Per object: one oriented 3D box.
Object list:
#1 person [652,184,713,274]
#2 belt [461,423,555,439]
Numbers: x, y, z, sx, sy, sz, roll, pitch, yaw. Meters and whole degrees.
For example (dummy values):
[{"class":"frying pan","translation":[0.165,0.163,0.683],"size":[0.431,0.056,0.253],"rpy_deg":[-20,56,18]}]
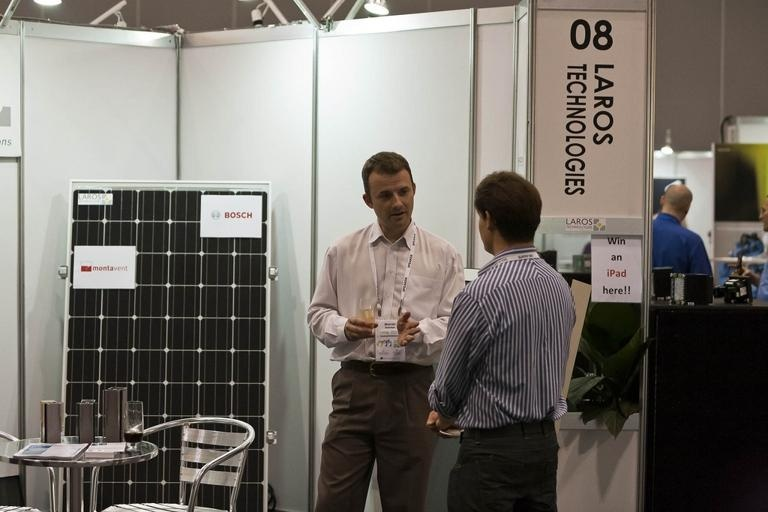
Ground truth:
[{"class":"person","translation":[2.540,-0.251,6.327],"size":[0.457,0.804,0.508],"rpy_deg":[-3,-3,25]},{"class":"belt","translation":[0.624,0.872,3.692],"size":[0.457,0.081,0.077],"rpy_deg":[-2,-3,4]}]
